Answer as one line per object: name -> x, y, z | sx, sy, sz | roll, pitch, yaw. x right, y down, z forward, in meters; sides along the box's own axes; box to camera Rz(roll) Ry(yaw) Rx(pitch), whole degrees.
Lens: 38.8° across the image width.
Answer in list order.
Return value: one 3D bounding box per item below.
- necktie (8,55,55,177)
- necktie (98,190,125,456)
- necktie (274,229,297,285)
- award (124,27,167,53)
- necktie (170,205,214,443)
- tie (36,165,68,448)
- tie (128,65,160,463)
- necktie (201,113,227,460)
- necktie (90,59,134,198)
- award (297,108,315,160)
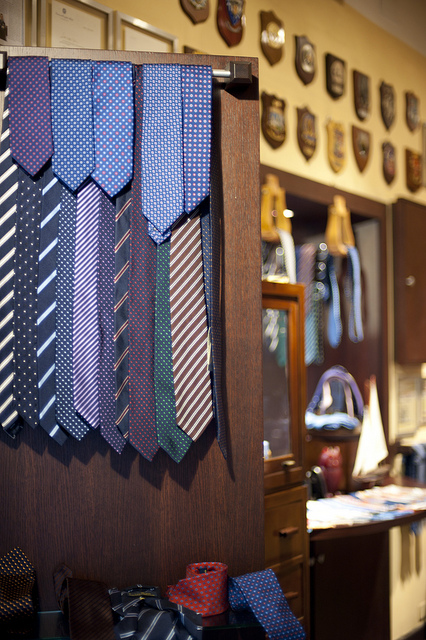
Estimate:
necktie -> -0.367, -0.416, 1.211 | 0.065, 0.306, 0.010 | -1, -7, -12
necktie -> -0.208, -0.018, 1.231 | 0.044, 0.651, 0.020 | 0, 2, -41
necktie -> 0.271, -0.234, 2.219 | 0.042, 0.189, 0.183 | 4, 4, 27
award -> -0.196, -0.807, 1.764 | 0.150, 0.065, 0.011 | 0, 4, -42
necktie -> -0.055, -0.001, 1.248 | 0.132, 0.427, 0.061 | -1, 6, -30
tie -> -0.323, -0.035, 1.211 | 0.055, 0.548, 0.091 | 1, 4, -27
tie -> -0.143, -0.149, 1.226 | 0.060, 0.863, 0.014 | 0, -3, -25
necktie -> 0.011, -0.074, 1.266 | 0.056, 0.720, 0.011 | 3, -5, -34
necktie -> -0.206, -0.387, 1.240 | 0.082, 0.375, 0.014 | 1, -25, -12
award -> 0.354, -0.715, 2.306 | 0.028, 0.187, 0.119 | 5, 4, 38
